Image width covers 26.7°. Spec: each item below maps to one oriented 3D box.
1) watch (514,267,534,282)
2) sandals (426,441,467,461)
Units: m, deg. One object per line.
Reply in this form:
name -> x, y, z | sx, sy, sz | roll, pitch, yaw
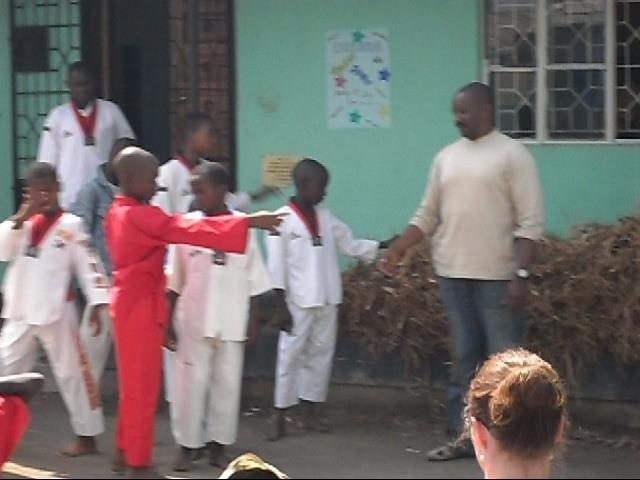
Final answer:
watch -> 1.441, 0.235, 9.548 | 0.103, 0.081, 0.082 | 1, 5, -5
sandals -> 0.943, 1.520, 9.808 | 0.390, 0.147, 0.128 | 0, 0, -5
